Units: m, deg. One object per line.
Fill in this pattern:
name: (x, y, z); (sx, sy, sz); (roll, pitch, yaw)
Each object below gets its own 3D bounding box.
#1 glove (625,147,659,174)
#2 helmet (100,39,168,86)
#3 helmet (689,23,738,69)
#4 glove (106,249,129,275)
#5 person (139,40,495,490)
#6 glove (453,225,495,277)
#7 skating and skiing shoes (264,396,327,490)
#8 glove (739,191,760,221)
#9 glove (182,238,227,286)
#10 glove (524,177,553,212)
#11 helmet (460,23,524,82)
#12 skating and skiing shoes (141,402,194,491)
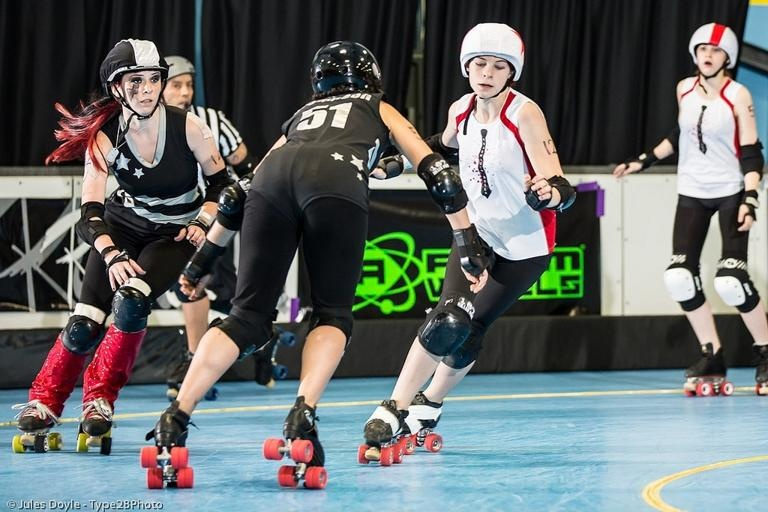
glove: (2.043, -0.753, 6.582); (0.266, 0.168, 0.112); (-35, -52, 0)
helmet: (-1.441, -1.118, 4.677); (0.222, 0.191, 0.322); (-1, -11, -28)
helmet: (2.494, -1.606, 6.277); (0.295, 0.330, 0.393); (13, 22, 14)
glove: (-1.436, 0.031, 4.488); (0.124, 0.077, 0.113); (5, 6, 29)
person: (-0.317, 0.003, 4.275); (1.458, 2.679, 0.894); (2, -22, 8)
glove: (0.472, -0.081, 4.353); (0.195, 0.262, 0.250); (11, -43, 12)
skating and skiing shoes: (-0.398, 0.930, 3.982); (0.220, 0.301, 0.500); (0, -44, 13)
glove: (2.637, -0.375, 5.995); (0.067, 0.211, 0.141); (6, 5, 13)
glove: (-0.948, 0.010, 4.340); (0.278, 0.103, 0.158); (-41, -32, 10)
glove: (0.809, -0.314, 4.356); (0.132, 0.135, 0.139); (1, 5, 20)
helmet: (0.592, -1.145, 4.581); (0.264, 0.279, 0.339); (6, -3, 8)
skating and skiing shoes: (-1.057, 0.956, 4.075); (0.189, 0.298, 0.385); (0, -5, 3)
